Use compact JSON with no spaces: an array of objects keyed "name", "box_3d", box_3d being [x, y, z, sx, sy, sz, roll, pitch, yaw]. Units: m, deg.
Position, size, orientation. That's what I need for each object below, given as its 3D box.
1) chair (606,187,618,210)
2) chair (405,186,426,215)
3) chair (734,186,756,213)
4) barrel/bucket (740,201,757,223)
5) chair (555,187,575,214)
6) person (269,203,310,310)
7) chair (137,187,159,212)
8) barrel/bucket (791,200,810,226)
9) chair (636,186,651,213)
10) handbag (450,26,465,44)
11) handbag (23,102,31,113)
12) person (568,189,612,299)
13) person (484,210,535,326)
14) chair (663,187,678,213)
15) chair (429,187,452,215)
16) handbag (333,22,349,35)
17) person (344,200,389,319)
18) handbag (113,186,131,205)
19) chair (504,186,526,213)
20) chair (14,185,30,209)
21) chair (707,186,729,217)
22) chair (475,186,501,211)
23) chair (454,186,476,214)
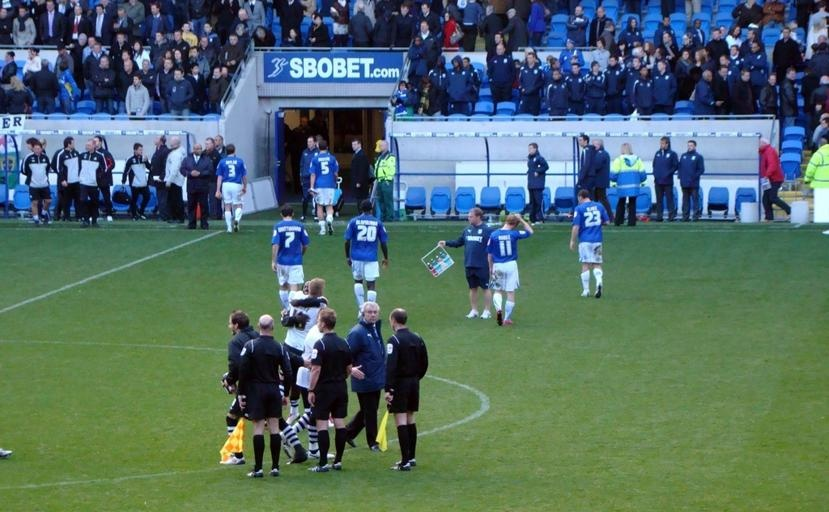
[{"name":"chair","box_3d":[6.568,-1.925,53.207,0.565,0.735,0.666,2,5,9]},{"name":"chair","box_3d":[0.032,-1.878,53.284,0.675,0.931,0.855,0,6,1]},{"name":"chair","box_3d":[10.836,-1.922,52.613,0.655,0.944,0.804,0,-5,19]},{"name":"barrel/bucket","box_3d":[10.849,-1.429,51.878,0.607,0.692,0.617,0,3,0]},{"name":"chair","box_3d":[5.114,-1.883,53.376,0.709,0.931,0.769,0,2,3]},{"name":"person","box_3d":[-3.197,0.009,41.744,0.944,2.843,1.235,1,-1,-29]},{"name":"chair","box_3d":[-9.023,-1.924,53.549,0.608,0.942,2.126,-3,5,-8]},{"name":"barrel/bucket","box_3d":[12.342,-1.438,51.364,0.617,0.668,0.467,-2,5,4]},{"name":"chair","box_3d":[7.580,-1.864,52.887,0.453,0.929,0.559,-1,5,9]},{"name":"handbag","box_3d":[1.478,-7.917,56.740,0.444,0.563,0.216,26,-16,-38]},{"name":"handbag","box_3d":[-13.552,-5.203,55.832,0.301,0.296,0.225,5,3,-4]},{"name":"person","box_3d":[4.816,-0.445,43.477,1.021,3.172,1.505,1,2,18]},{"name":"person","box_3d":[2.484,0.356,41.383,1.256,2.969,1.027,0,-2,-10]},{"name":"chair","box_3d":[8.108,-1.750,51.570,0.486,1.134,0.751,0,5,23]},{"name":"chair","box_3d":[0.846,-1.867,53.496,0.746,1.044,0.863,0,-1,3]},{"name":"handbag","box_3d":[-2.663,-8.325,57.540,0.414,0.433,0.413,23,35,34]},{"name":"person","box_3d":[-1.298,0.089,41.612,1.090,3.017,1.340,1,-1,-1]},{"name":"handbag","box_3d":[-9.922,-2.068,53.979,0.598,0.663,0.993,-3,5,-11]},{"name":"chair","box_3d":[3.349,-1.895,53.335,0.727,0.980,0.805,1,-5,4]},{"name":"chair","box_3d":[-13.256,-1.972,53.762,0.675,0.967,0.808,2,5,-20]},{"name":"chair","box_3d":[9.931,-1.835,52.486,0.752,1.081,0.887,1,4,11]},{"name":"chair","box_3d":[2.424,-1.942,53.386,0.679,0.930,0.767,1,2,2]},{"name":"chair","box_3d":[1.576,-1.891,53.853,0.764,1.052,0.840,1,1,5]}]
